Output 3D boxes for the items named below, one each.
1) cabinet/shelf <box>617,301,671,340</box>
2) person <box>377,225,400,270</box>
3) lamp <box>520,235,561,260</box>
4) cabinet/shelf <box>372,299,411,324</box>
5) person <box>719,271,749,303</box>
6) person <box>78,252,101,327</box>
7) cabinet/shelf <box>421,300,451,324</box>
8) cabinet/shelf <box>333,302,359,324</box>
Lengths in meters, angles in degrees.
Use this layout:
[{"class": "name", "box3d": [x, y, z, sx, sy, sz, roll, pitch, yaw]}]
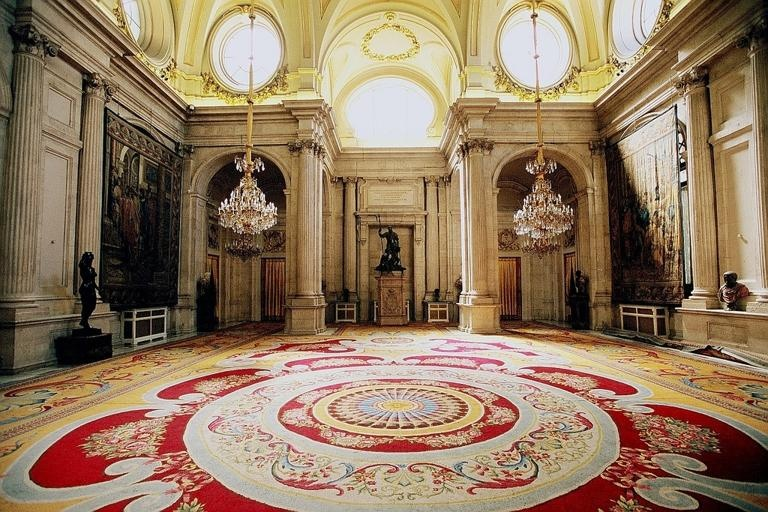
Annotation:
[{"class": "cabinet/shelf", "box3d": [6.717, 1.654, 12.454, 0.356, 1.031, 1.595, -1, 11, -5]}, {"class": "person", "box3d": [0.189, -0.154, 15.706, 0.716, 1.443, 0.922, -1, 10, -2]}, {"class": "lamp", "box3d": [4.486, -0.232, 13.833, 1.197, 1.033, 1.224, -1, -6, 15]}, {"class": "cabinet/shelf", "box3d": [0.249, 1.946, 16.372, 0.961, 0.721, 0.976, -1, -6, 3]}, {"class": "person", "box3d": [7.293, 0.709, 10.044, 0.432, 0.716, 0.332, 4, 11, 22]}, {"class": "person", "box3d": [-5.996, 0.703, 9.749, 0.371, 1.513, 0.492, -8, 12, -34]}, {"class": "cabinet/shelf", "box3d": [1.854, 2.014, 16.817, 0.875, 0.664, 0.954, 1, 11, 5]}, {"class": "cabinet/shelf", "box3d": [-1.319, 2.022, 16.897, 0.672, 0.652, 0.693, 0, -2, 14]}]
